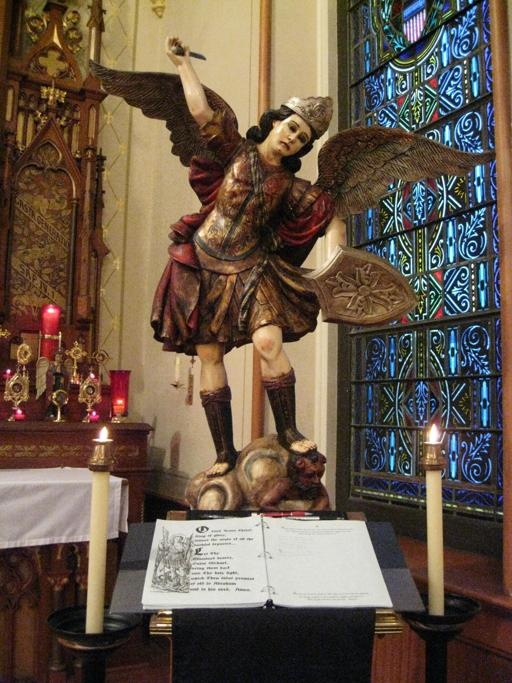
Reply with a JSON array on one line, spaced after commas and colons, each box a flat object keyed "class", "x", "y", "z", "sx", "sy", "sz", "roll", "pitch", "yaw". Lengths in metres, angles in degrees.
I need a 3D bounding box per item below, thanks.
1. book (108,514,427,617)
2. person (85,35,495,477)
[{"class": "book", "x": 0.041, "y": 0.401, "z": 1.380, "sx": 0.486, "sy": 0.127, "sz": 0.231, "roll": 1, "pitch": 0, "yaw": -5}, {"class": "person", "x": 0.066, "y": -0.191, "z": 1.986, "sx": 1.215, "sy": 0.972, "sz": 0.293, "roll": 4, "pitch": 3, "yaw": -16}]
